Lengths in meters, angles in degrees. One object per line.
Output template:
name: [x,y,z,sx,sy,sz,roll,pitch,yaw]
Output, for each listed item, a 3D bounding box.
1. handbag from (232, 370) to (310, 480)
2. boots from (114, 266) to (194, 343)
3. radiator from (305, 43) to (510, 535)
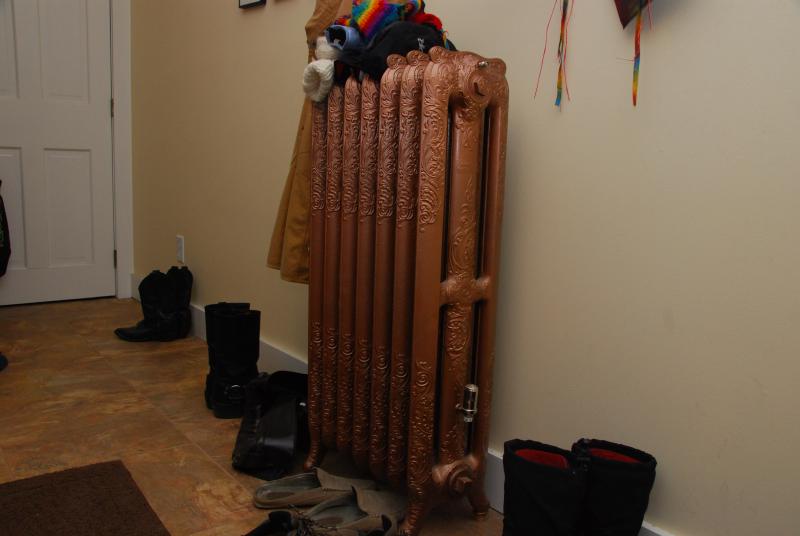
handbag: [-0.375,0.523,2.156,0.194,0.269,0.369,7,8,20]
boots: [-1.237,0.197,3.258,0.382,0.475,0.367,3,1,44]
radiator: [-0.003,0.061,1.788,0.587,1.321,0.417,3,13,3]
